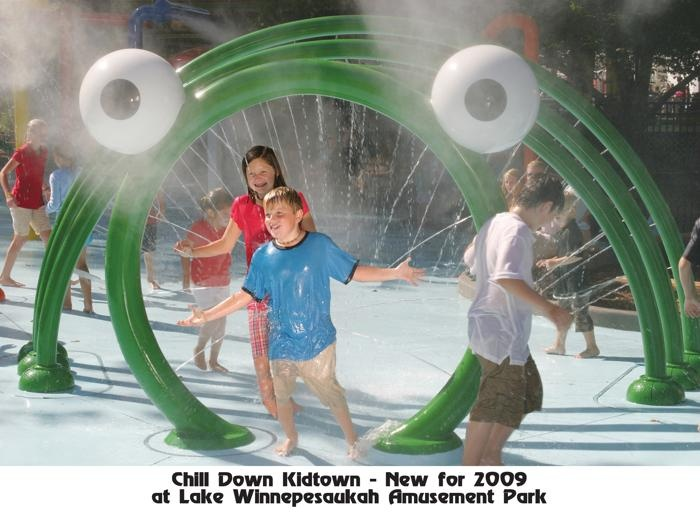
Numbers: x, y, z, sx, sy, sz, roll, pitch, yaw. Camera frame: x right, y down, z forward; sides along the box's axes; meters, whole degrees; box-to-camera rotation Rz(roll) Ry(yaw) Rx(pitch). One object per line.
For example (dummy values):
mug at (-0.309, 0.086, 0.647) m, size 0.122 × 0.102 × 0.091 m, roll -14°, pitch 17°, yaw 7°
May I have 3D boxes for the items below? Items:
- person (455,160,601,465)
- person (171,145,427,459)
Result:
person at (1.016, 0.434, 4.092) m, size 0.605 × 1.937 × 0.621 m, roll 4°, pitch 4°, yaw 10°
person at (-0.350, 0.308, 4.513) m, size 1.494 × 2.129 × 0.555 m, roll 5°, pitch 4°, yaw 22°
